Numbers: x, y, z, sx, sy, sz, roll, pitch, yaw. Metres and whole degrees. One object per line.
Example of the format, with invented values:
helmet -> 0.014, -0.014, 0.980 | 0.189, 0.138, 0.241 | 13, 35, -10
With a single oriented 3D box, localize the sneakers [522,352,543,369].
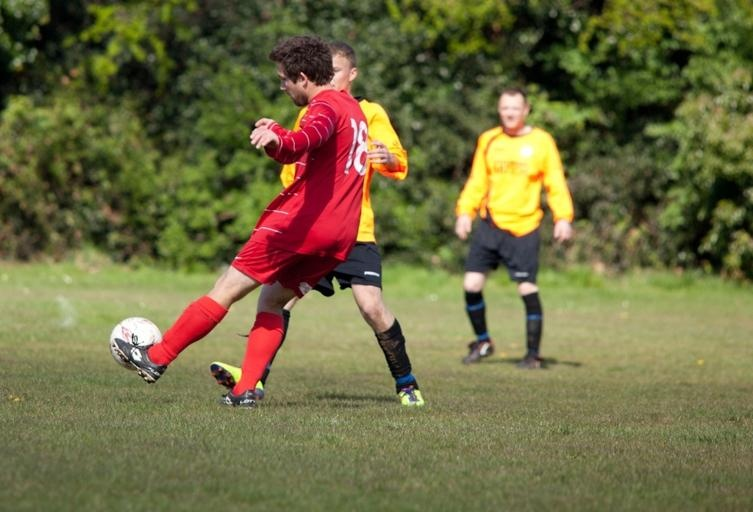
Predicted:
sneakers -> 1.556, 1.082, 12.141 | 0.103, 0.113, 0.247 | -3, -9, 24

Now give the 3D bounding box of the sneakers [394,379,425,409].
sneakers -> 0.301, 1.176, 10.253 | 0.258, 0.196, 0.344 | 0, 8, -8

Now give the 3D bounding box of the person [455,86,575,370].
person -> 1.368, -0.264, 12.323 | 1.158, 2.856, 0.744 | 2, 8, 10

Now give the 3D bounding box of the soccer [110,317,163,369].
soccer -> -2.054, 0.702, 10.080 | 0.411, 0.416, 0.410 | -24, -27, 36
